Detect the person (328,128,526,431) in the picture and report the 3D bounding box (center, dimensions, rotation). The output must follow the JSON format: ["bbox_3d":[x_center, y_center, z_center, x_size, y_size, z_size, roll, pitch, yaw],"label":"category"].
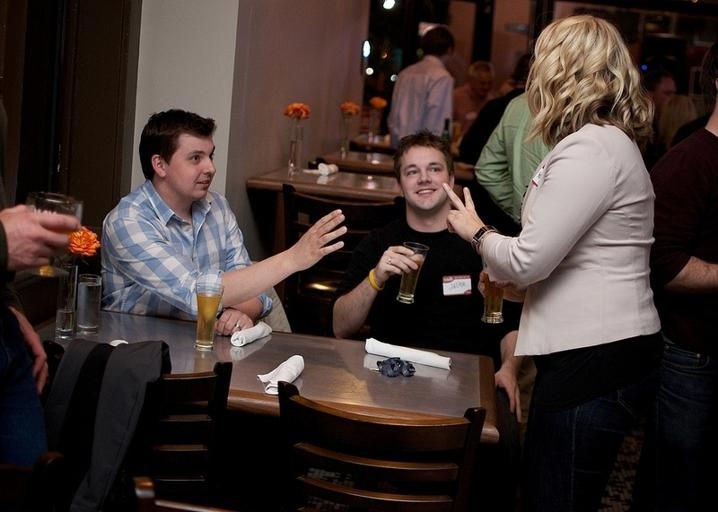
[{"bbox_3d":[0.317,0.210,2.325,0.755,1.397,0.795,2,-5,-22],"label":"person"}]

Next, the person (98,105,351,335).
[{"bbox_3d":[-0.571,-0.041,2.309,0.938,0.969,0.588,9,14,13],"label":"person"}]

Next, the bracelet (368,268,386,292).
[{"bbox_3d":[0.064,0.097,2.249,0.059,0.103,0.095,1,10,1],"label":"bracelet"}]
